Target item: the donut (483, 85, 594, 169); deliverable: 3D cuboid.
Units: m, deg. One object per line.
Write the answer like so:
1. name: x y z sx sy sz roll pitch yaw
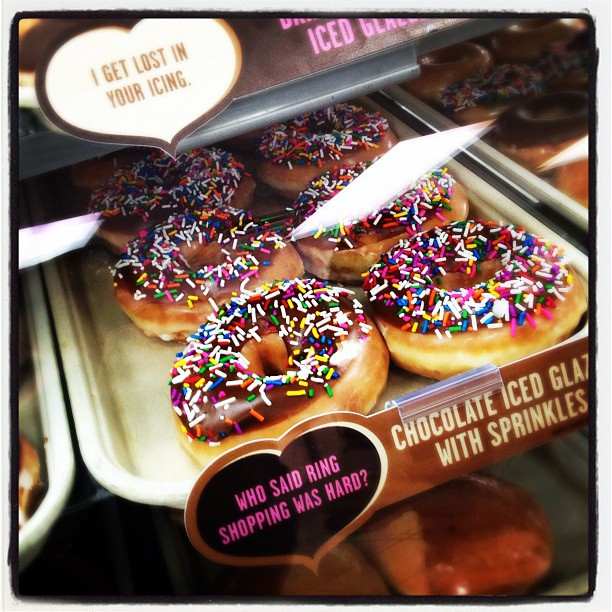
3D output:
1. donut: 0.573 -0.438 1.425 0.275 0.108 0.155 -22 57 -12

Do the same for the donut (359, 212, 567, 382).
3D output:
1. donut: 0.374 -0.034 1.370 0.489 0.161 0.335 -17 56 -9
